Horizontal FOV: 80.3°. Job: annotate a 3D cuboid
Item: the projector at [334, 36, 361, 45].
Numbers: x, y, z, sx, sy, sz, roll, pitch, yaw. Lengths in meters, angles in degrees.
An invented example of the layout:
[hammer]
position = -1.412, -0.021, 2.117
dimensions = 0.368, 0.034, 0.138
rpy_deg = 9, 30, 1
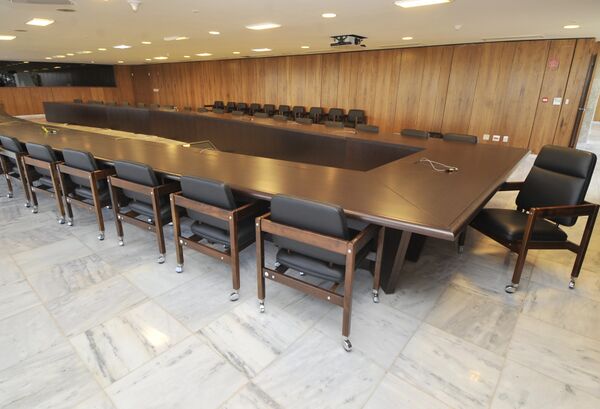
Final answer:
[projector]
position = 0.894, -3.149, 6.794
dimensions = 0.493, 0.192, 0.531
rpy_deg = 1, 23, 4
